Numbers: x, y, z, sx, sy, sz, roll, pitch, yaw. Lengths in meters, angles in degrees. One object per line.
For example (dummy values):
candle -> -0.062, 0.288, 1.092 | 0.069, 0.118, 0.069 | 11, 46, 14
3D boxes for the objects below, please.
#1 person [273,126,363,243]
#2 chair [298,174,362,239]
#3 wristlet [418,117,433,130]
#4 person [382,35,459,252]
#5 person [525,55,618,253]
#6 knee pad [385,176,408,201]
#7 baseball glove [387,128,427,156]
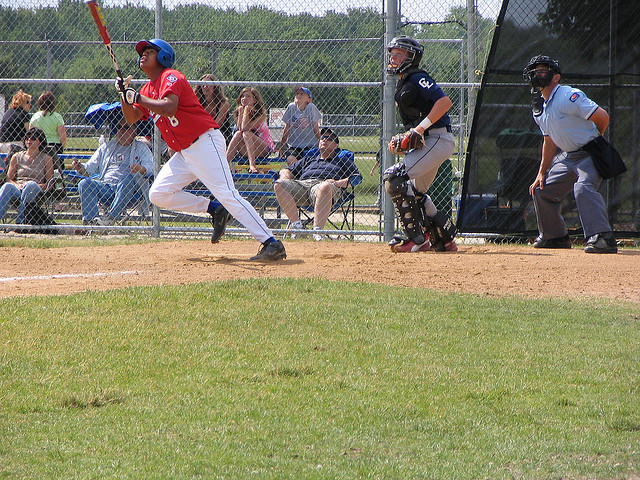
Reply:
person -> -0.015, -0.688, 12.728 | 1.043, 1.312, 1.181 | -1, 4, -10
chair -> 0.246, -0.399, 13.940 | 0.690, 1.172, 0.845 | 0, -4, 41
wristlet -> 1.061, -1.161, 10.694 | 0.110, 0.108, 0.114 | 18, 44, 29
person -> 1.065, -0.979, 11.097 | 0.735, 2.238, 0.770 | 2, 4, 32
person -> 2.672, -0.907, 11.388 | 0.951, 2.031, 0.803 | 1, 3, 12
knee pad -> 0.762, -0.527, 11.003 | 0.154, 0.255, 0.281 | -3, 5, -42
baseball glove -> 0.895, -0.989, 10.905 | 0.245, 0.173, 0.336 | -26, 6, 2
